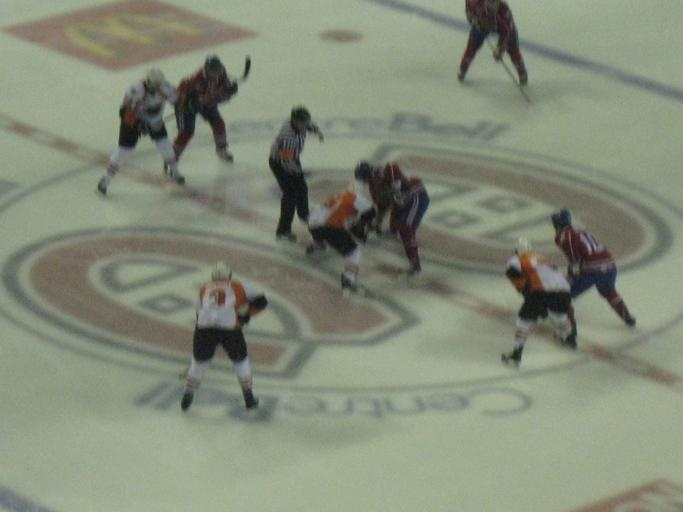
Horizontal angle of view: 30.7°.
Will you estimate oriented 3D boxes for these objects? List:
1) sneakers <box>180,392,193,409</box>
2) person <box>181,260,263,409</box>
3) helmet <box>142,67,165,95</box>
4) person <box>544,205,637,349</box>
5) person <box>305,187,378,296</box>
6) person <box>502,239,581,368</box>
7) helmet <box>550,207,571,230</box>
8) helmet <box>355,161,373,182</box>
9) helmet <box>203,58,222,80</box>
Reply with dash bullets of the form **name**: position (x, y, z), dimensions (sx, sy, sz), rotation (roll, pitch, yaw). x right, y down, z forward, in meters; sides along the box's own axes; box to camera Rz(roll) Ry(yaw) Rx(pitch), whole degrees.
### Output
- **sneakers**: position (-1.740, 1.641, 14.010), dimensions (0.114, 0.206, 0.055), rotation (10, -5, 1)
- **person**: position (-1.328, 0.889, 14.008), dimensions (0.943, 1.503, 0.957), rotation (1, 34, 4)
- **helmet**: position (-2.507, -2.341, 16.557), dimensions (0.252, 0.321, 0.330), rotation (8, 63, -17)
- **person**: position (3.093, 0.207, 15.357), dimensions (1.034, 1.600, 0.633), rotation (-3, 18, 7)
- **person**: position (0.003, -0.240, 16.070), dimensions (0.832, 0.572, 1.292), rotation (15, 80, 14)
- **person**: position (2.384, 0.582, 14.883), dimensions (0.930, 1.177, 0.984), rotation (0, 34, 2)
- **helmet**: position (2.675, -0.412, 15.172), dimensions (0.208, 0.354, 0.285), rotation (3, 34, 6)
- **helmet**: position (0.290, -1.035, 15.888), dimensions (0.225, 0.310, 0.227), rotation (-1, 34, 0)
- **helmet**: position (-1.770, -2.576, 17.209), dimensions (0.269, 0.344, 0.174), rotation (-5, 34, -5)
